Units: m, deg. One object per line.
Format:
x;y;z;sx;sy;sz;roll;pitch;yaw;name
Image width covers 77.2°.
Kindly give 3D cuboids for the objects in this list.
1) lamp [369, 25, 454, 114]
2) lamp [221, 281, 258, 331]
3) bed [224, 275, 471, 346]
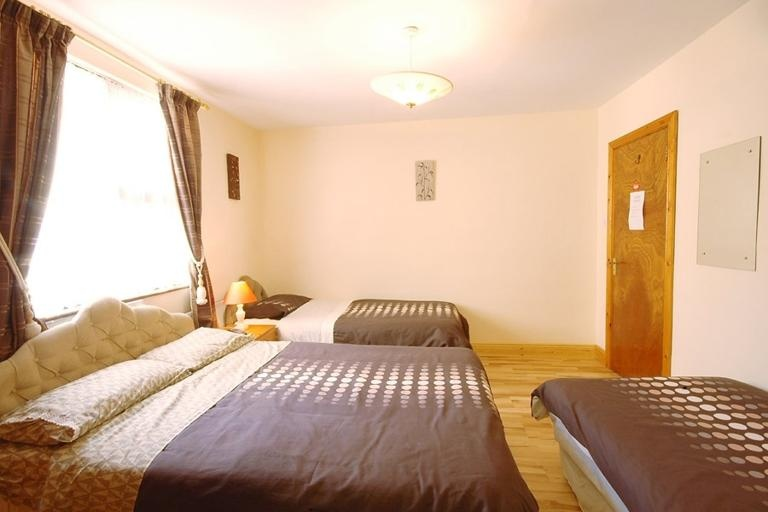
0.225;-1.577;4.068;0.715;0.618;0.702;4;4;28;lamp
-1.491;0.508;4.985;0.357;0.484;0.333;-5;-2;5;lamp
-0.311;0.689;5.100;1.926;0.661;1.095;-1;8;6;bed
